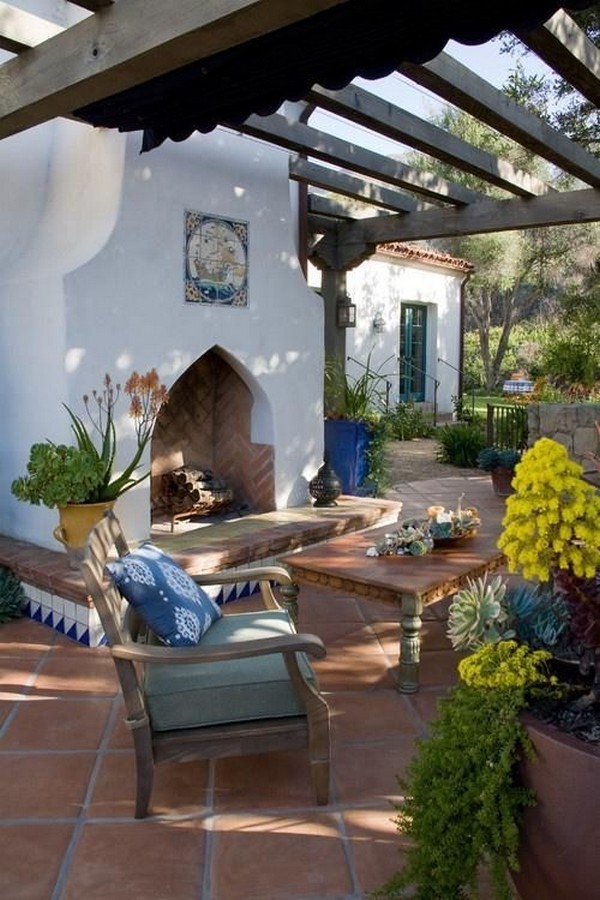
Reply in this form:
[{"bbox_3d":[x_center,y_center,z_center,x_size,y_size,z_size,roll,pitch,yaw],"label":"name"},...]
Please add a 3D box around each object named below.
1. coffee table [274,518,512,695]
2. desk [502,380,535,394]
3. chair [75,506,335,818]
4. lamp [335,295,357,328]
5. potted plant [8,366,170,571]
[{"bbox_3d":[0.399,0.640,3.378,0.703,0.391,1.113,4,7,32],"label":"coffee table"},{"bbox_3d":[4.913,-1.411,14.735,0.480,0.274,0.810,-1,6,-4],"label":"desk"},{"bbox_3d":[-0.318,0.729,2.419,0.795,0.967,0.736,-1,7,-6],"label":"chair"},{"bbox_3d":[0.569,-1.732,8.223,0.213,0.429,0.239,1,7,13],"label":"lamp"},{"bbox_3d":[-1.243,0.144,4.019,1.026,1.143,0.761,4,1,26],"label":"potted plant"}]
